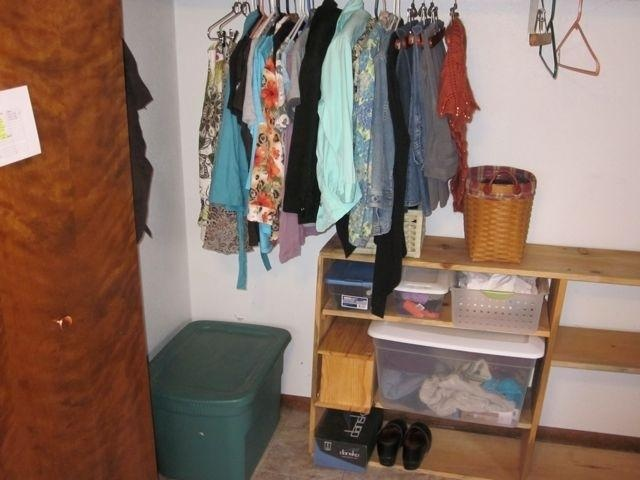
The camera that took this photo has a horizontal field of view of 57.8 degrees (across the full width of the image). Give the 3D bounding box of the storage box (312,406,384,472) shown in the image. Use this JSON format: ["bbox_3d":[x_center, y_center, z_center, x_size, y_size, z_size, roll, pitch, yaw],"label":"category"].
[{"bbox_3d":[0.130,0.939,2.801,0.218,0.160,0.333,4,14,14],"label":"storage box"}]

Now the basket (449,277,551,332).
[{"bbox_3d":[0.759,0.299,2.487,0.274,0.191,0.297,5,8,14],"label":"basket"}]

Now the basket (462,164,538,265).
[{"bbox_3d":[0.766,-0.113,2.512,0.291,0.412,0.301,6,9,17],"label":"basket"}]

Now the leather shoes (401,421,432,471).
[{"bbox_3d":[0.469,0.996,2.867,0.138,0.136,0.359,12,5,15],"label":"leather shoes"}]

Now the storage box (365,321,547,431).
[{"bbox_3d":[0.607,0.541,2.645,0.627,0.359,0.471,4,8,19],"label":"storage box"}]

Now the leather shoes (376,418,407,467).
[{"bbox_3d":[0.352,0.988,2.885,0.126,0.116,0.371,5,9,13],"label":"leather shoes"}]
